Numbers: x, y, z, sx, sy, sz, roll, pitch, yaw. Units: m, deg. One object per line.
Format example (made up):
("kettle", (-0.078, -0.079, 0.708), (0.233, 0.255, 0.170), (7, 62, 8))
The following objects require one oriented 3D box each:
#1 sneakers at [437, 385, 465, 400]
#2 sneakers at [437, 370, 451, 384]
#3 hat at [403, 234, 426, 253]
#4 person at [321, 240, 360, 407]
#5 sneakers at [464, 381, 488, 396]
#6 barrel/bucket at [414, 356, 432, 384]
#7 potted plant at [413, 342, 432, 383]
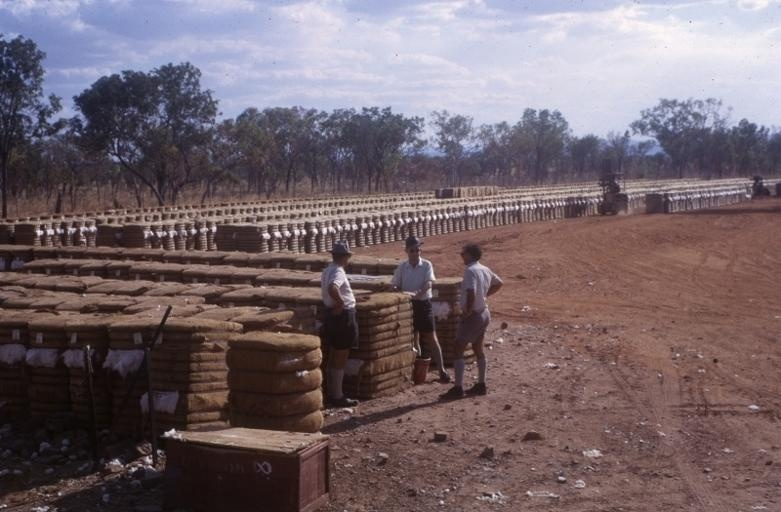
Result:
("sneakers", (1.300, 2.843, 16.327), (0.604, 0.276, 0.236), (-5, -13, 12))
("sneakers", (1.195, 2.690, 17.279), (0.137, 0.292, 0.418), (5, 6, 35))
("hat", (0.493, -0.266, 16.797), (0.310, 0.367, 0.387), (-1, 12, -7))
("person", (-0.997, 1.413, 15.829), (0.603, 3.254, 0.855), (-12, 18, -43))
("sneakers", (1.819, 2.840, 16.628), (0.523, 0.223, 0.208), (1, -7, 5))
("barrel/bucket", (0.775, 2.529, 17.237), (0.477, 0.477, 0.473), (1, -3, 0))
("potted plant", (0.676, 2.453, 17.450), (0.615, 0.569, 0.642), (1, -1, 4))
